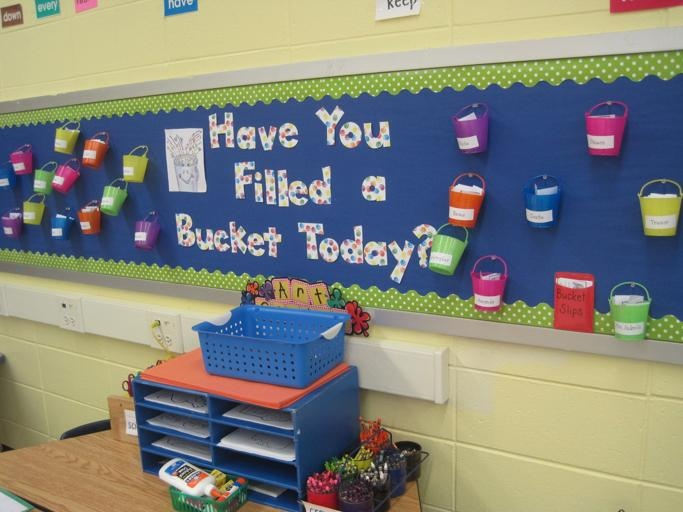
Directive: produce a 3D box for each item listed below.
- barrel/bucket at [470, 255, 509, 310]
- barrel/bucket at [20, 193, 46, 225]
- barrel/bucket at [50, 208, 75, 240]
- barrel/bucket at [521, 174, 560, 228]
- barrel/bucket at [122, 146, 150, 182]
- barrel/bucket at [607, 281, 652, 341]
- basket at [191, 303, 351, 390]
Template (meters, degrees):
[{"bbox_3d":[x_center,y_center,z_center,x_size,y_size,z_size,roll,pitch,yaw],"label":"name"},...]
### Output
[{"bbox_3d":[0.518,0.101,1.943,0.124,0.194,0.100,2,10,13],"label":"barrel/bucket"},{"bbox_3d":[-1.633,-0.250,2.941,0.104,0.164,0.092,13,-12,13],"label":"barrel/bucket"},{"bbox_3d":[-1.435,-0.165,2.860,0.109,0.163,0.088,8,-17,12],"label":"barrel/bucket"},{"bbox_3d":[0.665,-0.186,1.844,0.152,0.231,0.125,0,-4,23],"label":"barrel/bucket"},{"bbox_3d":[-0.943,-0.417,2.556,0.108,0.170,0.096,11,-14,8],"label":"barrel/bucket"},{"bbox_3d":[0.928,0.174,1.778,0.149,0.201,0.110,4,14,37],"label":"barrel/bucket"},{"bbox_3d":[-0.267,0.333,2.041,0.390,0.156,0.321,5,9,21],"label":"basket"}]
